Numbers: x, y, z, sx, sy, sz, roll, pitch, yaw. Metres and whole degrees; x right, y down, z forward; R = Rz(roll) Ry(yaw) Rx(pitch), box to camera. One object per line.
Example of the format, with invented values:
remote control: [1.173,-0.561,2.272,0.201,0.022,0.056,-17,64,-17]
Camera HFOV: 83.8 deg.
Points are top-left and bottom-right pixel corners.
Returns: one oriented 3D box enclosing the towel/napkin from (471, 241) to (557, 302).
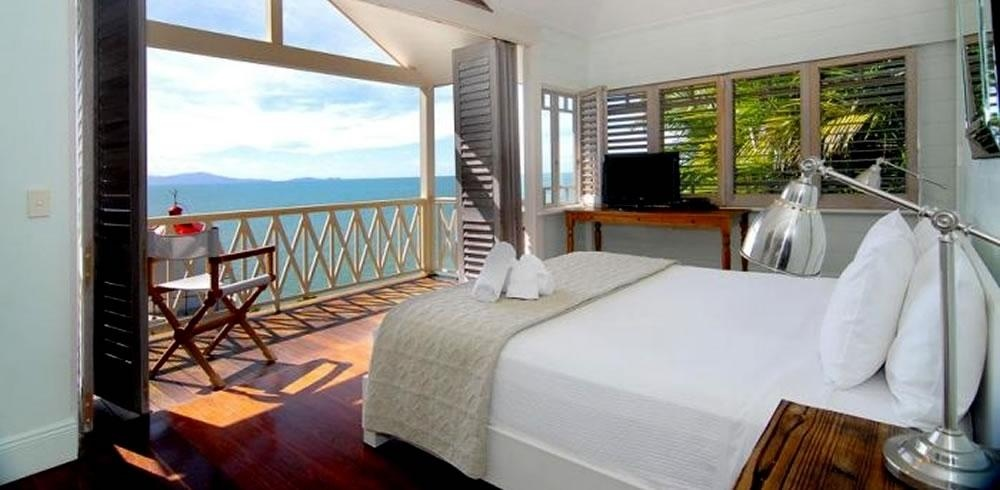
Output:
towel/napkin: [0.094,0.257,4.696,0.591,0.526,0.150,9,-26,-5]

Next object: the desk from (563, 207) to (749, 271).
desk: [2.018,-0.046,7.525,2.124,0.931,0.744,4,15,32]

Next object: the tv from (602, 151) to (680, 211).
tv: [1.846,-0.889,7.375,1.131,0.696,0.110,-3,7,-16]
